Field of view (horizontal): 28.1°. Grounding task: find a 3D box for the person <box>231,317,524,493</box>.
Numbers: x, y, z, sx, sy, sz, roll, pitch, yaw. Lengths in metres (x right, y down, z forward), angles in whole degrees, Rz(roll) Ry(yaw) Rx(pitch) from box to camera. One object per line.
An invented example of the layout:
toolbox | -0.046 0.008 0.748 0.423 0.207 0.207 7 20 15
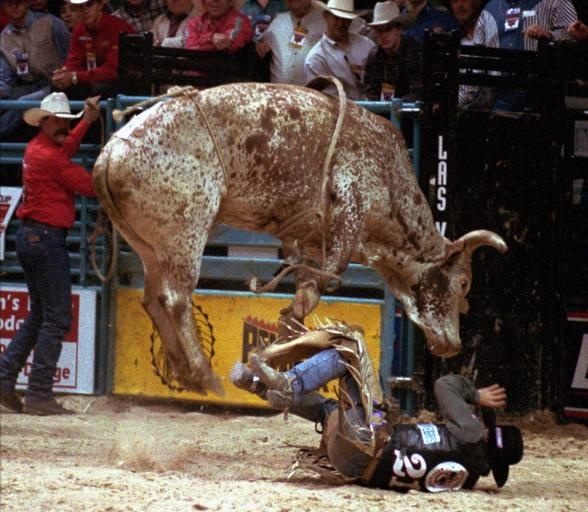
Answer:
person | 0.640 1.002 8.238 1.775 0.833 1.086 28 -32 2

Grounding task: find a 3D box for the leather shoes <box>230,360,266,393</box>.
leather shoes | -0.315 0.811 7.757 0.272 0.142 0.113 32 41 7

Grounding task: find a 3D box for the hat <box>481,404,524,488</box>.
hat | 1.393 1.309 7.978 0.160 0.465 0.348 2 4 6

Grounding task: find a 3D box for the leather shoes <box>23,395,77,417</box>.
leather shoes | -1.980 1.206 9.601 0.431 0.202 0.150 3 1 -13

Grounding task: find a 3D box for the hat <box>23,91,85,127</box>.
hat | -1.907 -1.192 9.410 0.462 0.270 0.349 3 7 1
